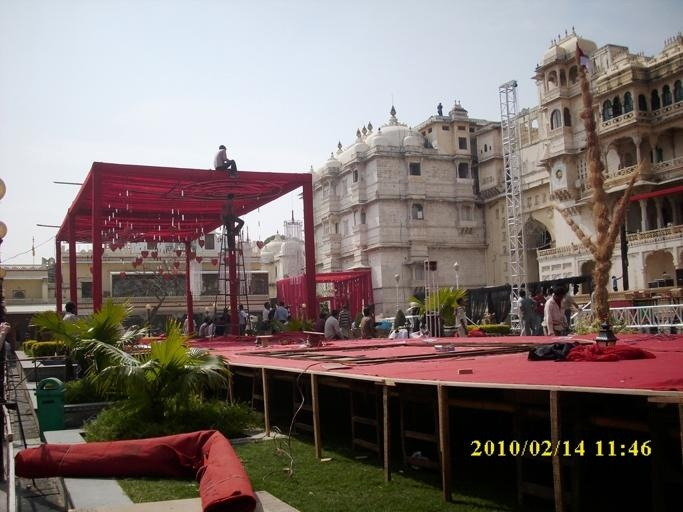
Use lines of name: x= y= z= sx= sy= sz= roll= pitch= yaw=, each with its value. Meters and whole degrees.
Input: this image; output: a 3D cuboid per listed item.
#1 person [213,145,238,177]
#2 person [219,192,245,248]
person: x=-3.516 y=-3.004 z=20.236 sx=0.633 sy=1.190 sz=2.229 roll=-1 pitch=-7 yaw=-10
person: x=-3.987 y=-1.255 z=24.528 sx=0.719 sy=2.105 sz=0.697 roll=-5 pitch=3 yaw=-20
